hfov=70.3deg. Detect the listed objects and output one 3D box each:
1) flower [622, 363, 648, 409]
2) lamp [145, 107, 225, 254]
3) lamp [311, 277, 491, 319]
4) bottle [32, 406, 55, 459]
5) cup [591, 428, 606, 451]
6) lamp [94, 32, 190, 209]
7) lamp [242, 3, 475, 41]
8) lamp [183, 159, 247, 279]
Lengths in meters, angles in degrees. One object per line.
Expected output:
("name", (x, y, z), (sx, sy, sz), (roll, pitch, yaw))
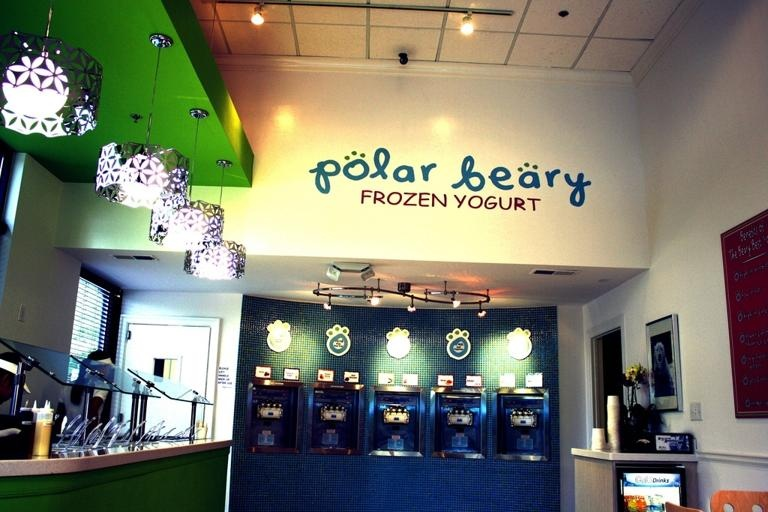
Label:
("flower", (3.138, 1.618, 6.809), (0.288, 0.556, 0.827), (-8, -21, 22))
("lamp", (-1.858, -0.809, 5.304), (0.860, 1.273, 0.854), (3, -7, 0))
("lamp", (0.268, 0.764, 8.366), (2.668, 0.502, 1.740), (2, -20, -4))
("bottle", (-2.242, 1.151, 3.592), (0.140, 0.337, 0.365), (13, -23, -30))
("cup", (2.389, 2.055, 6.103), (0.139, 0.224, 0.264), (-8, -21, 23))
("lamp", (-1.941, -0.991, 4.526), (0.953, 1.265, 0.599), (-15, -25, 37))
("lamp", (-0.263, -2.655, 6.300), (2.625, 0.485, 0.488), (0, -20, 0))
("lamp", (-1.724, -0.173, 5.615), (0.764, 1.170, 0.707), (6, -19, -18))
